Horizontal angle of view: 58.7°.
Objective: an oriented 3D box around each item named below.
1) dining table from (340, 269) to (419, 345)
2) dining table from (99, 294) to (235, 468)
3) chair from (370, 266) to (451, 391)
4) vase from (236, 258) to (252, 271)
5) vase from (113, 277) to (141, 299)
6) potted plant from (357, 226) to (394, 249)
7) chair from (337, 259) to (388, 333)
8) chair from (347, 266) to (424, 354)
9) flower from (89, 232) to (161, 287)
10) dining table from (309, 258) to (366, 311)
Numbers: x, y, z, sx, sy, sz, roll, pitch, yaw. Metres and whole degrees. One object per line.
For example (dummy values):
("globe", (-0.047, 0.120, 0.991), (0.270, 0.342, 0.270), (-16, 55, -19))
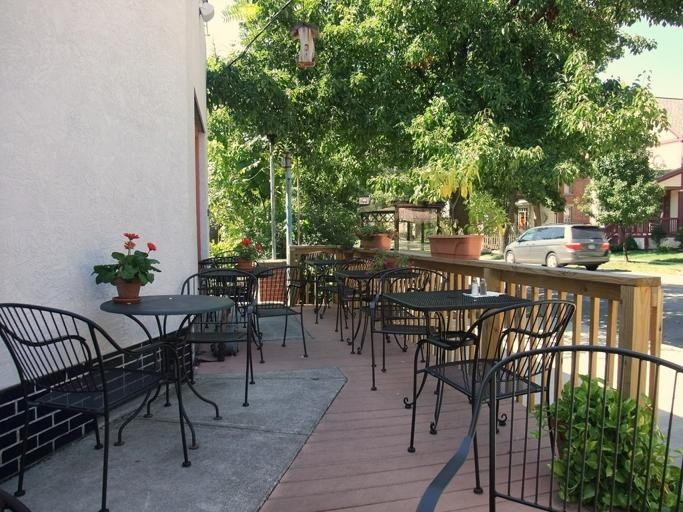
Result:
("dining table", (0.397, 0.561, 6.799), (0.808, 0.868, 0.615), (6, 6, -3))
("dining table", (-1.117, 0.831, 4.543), (0.939, 1.214, 1.026), (1, 0, 13))
("chair", (0.612, 0.618, 5.892), (0.671, 1.184, 0.822), (7, 6, -2))
("vase", (-1.195, 0.097, 7.480), (0.146, 0.125, 0.155), (0, 3, 1))
("vase", (-1.531, 0.236, 4.330), (0.141, 0.117, 0.150), (2, -3, 0))
("potted plant", (0.501, -0.265, 9.176), (0.352, 0.233, 0.374), (3, 1, 7))
("chair", (0.178, 0.496, 7.774), (0.720, 1.131, 0.846), (2, 1, -16))
("chair", (0.498, 0.652, 6.556), (0.676, 0.861, 0.706), (5, -3, 5))
("flower", (-1.538, 0.040, 4.481), (0.371, 0.391, 0.464), (-8, -14, 10))
("dining table", (-0.121, 0.332, 8.886), (0.771, 0.832, 0.782), (-1, 3, -18))
